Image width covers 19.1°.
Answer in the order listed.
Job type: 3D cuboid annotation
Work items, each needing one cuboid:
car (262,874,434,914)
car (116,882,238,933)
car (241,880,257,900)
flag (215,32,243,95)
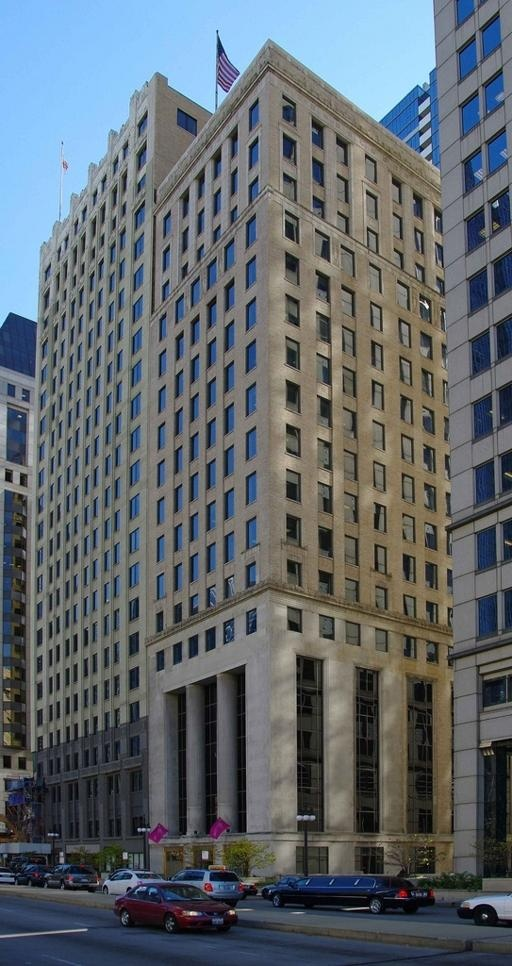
[{"bbox_3d":[3.553,16.017,58.942,1.557,1.695,6.965,10,-21,-41],"label":"car"},{"bbox_3d":[-2.669,13.921,49.680,1.663,1.642,4.366,9,-20,-38],"label":"car"},{"bbox_3d":[-0.285,18.491,69.158,0.731,0.770,1.929,0,-9,-1],"label":"car"},{"bbox_3d":[-1.961,-26.269,94.439,1.612,5.339,0.382,-12,-26,15],"label":"flag"}]
